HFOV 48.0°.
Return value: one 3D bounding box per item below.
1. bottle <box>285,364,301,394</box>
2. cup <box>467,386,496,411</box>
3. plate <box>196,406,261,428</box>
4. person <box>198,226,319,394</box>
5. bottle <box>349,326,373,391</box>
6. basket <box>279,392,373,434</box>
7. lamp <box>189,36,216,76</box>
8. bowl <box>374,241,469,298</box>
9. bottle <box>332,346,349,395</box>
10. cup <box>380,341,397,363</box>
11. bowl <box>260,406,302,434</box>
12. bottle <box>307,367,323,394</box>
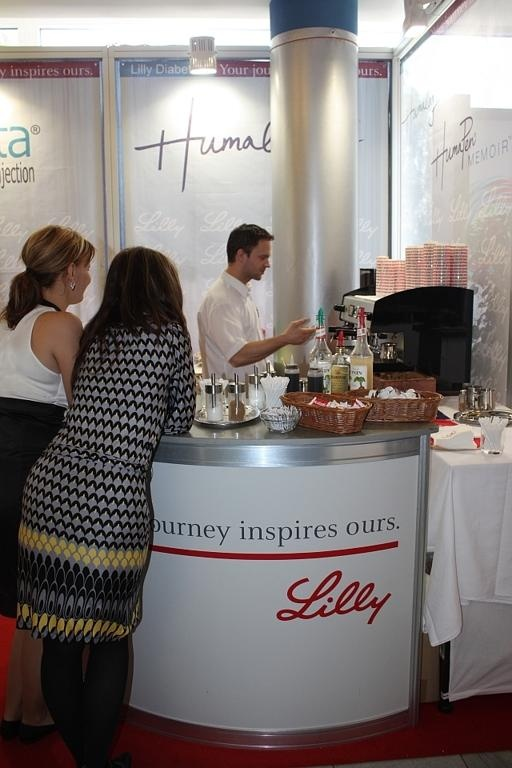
[{"bbox_3d":[0.115,-0.017,1.839,0.040,0.085,0.044,-2,10,0],"label":"bottle"},{"bbox_3d":[0.928,0.065,2.316,0.062,0.102,0.129,0,3,-5],"label":"cup"},{"bbox_3d":[-0.086,0.098,1.616,0.186,0.026,0.200,-3,11,-1],"label":"plate"},{"bbox_3d":[-0.078,-0.329,2.465,0.363,0.706,0.801,-3,10,-6],"label":"person"},{"bbox_3d":[0.326,-0.076,1.784,0.066,0.185,0.072,-2,10,0],"label":"bottle"},{"bbox_3d":[0.183,0.068,1.497,0.114,0.070,0.172,-4,19,-41],"label":"basket"},{"bbox_3d":[-0.347,-2.115,3.746,0.192,0.231,0.186,-9,15,-39],"label":"lamp"},{"bbox_3d":[0.801,-0.547,2.786,0.210,0.247,0.573,-6,12,-21],"label":"bowl"},{"bbox_3d":[0.267,-0.039,1.836,0.064,0.139,0.231,0,11,8],"label":"bottle"},{"bbox_3d":[0.556,-0.129,2.410,0.058,0.114,0.105,3,-14,1],"label":"cup"},{"bbox_3d":[0.054,0.081,1.450,0.072,0.044,0.074,-1,3,0],"label":"bowl"},{"bbox_3d":[0.181,-0.010,1.815,0.064,0.076,0.053,2,11,24],"label":"bottle"}]
